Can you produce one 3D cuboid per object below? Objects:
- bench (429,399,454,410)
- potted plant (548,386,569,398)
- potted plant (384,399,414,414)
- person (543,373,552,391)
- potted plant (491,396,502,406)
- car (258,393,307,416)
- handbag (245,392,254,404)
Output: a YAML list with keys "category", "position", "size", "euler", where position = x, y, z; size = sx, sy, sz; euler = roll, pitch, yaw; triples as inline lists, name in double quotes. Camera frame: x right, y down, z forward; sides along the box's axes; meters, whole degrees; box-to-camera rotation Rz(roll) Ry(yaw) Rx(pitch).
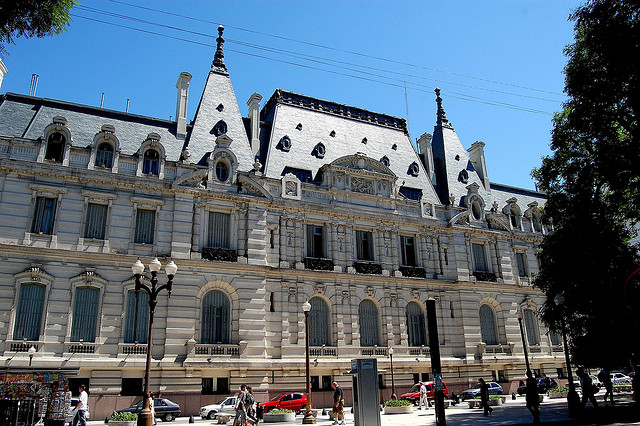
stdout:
- category: "bench"
  position: [10.034, 15.650, 41.507]
  size: [1.810, 0.657, 4.220]
  euler: [-7, -21, 12]
- category: "potted plant"
  position: [20.525, 15.389, 43.297]
  size: [1.551, 0.809, 1.081]
  euler: [-11, -22, 22]
- category: "potted plant"
  position: [5.858, 14.353, 37.536]
  size: [1.985, 0.934, 0.736]
  euler: [-4, -21, 3]
- category: "person"
  position: [21.479, 15.873, 47.168]
  size: [0.675, 1.223, 1.320]
  euler: [-12, -22, 22]
- category: "potted plant"
  position: [13.951, 14.725, 39.838]
  size: [0.899, 0.510, 0.845]
  euler: [-1, -7, 9]
- category: "car"
  position: [-2.809, 14.453, 38.502]
  size: [3.466, 1.576, 1.935]
  euler: [4, -20, -6]
- category: "handbag"
  position: [-4.130, 10.847, 29.730]
  size: [0.681, 0.684, 0.499]
  euler: [3, -6, -5]
